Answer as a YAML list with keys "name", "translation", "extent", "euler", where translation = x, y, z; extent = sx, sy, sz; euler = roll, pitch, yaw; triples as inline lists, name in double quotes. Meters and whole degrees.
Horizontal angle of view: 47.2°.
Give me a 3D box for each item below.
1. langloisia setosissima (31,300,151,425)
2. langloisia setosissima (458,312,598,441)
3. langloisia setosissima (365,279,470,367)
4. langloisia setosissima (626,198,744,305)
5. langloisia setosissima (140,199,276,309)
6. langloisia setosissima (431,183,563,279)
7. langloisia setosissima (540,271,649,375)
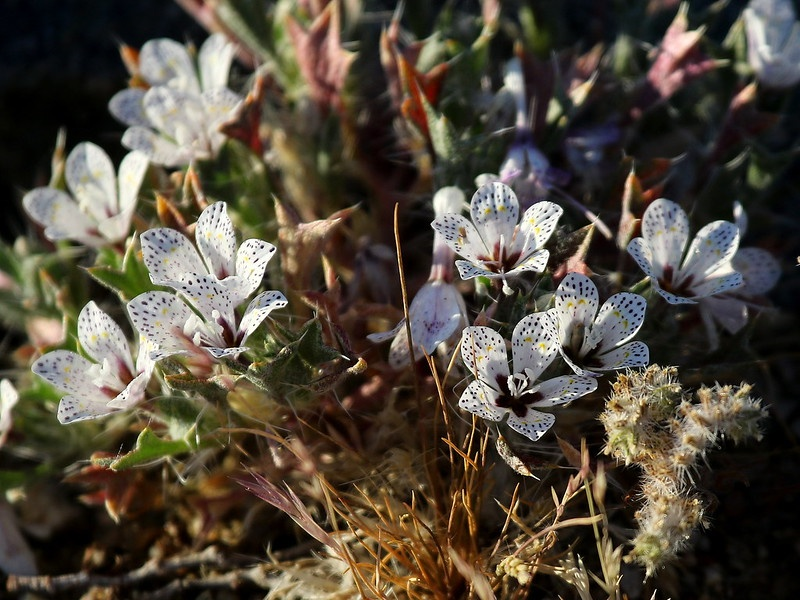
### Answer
- name: "langloisia setosissima"
  translation: [-0.604, 0.161, 1.854]
  extent: [0.229, 0.120, 0.254]
  euler: [-34, 71, 13]
- name: "langloisia setosissima"
  translation: [0.237, 0.143, 1.826]
  extent: [0.267, 0.321, 0.174]
  euler: [15, 84, -1]
- name: "langloisia setosissima"
  translation: [0.038, 0.052, 1.899]
  extent: [0.158, 0.070, 0.191]
  euler: [-21, 69, 30]
- name: "langloisia setosissima"
  translation: [0.578, -0.053, 1.854]
  extent: [0.253, 0.180, 0.213]
  euler: [4, 59, 6]
- name: "langloisia setosissima"
  translation: [-0.370, -0.083, 1.791]
  extent: [0.196, 0.113, 0.250]
  euler: [-28, 77, 1]
- name: "langloisia setosissima"
  translation: [0.192, -0.117, 1.875]
  extent: [0.259, 0.229, 0.161]
  euler: [7, 66, -39]
- name: "langloisia setosissima"
  translation: [0.375, 0.038, 1.815]
  extent: [0.173, 0.105, 0.209]
  euler: [-31, 67, -24]
